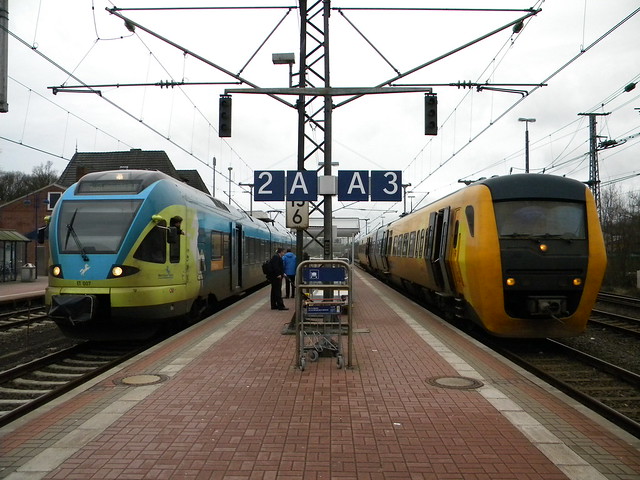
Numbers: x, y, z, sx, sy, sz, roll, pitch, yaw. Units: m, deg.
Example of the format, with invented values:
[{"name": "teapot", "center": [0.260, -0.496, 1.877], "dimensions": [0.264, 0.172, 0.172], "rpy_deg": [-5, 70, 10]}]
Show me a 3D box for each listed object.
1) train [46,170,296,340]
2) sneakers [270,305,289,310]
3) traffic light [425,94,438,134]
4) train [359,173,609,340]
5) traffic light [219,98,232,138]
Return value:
[{"name": "train", "center": [-4.394, 0.422, 16.824], "dimensions": [3.064, 3.605, 13.721], "rpy_deg": [-2, -2, 6]}, {"name": "sneakers", "center": [-1.228, 2.120, 15.629], "dimensions": [0.558, 0.221, 0.172], "rpy_deg": [-3, 2, 2]}, {"name": "traffic light", "center": [2.660, -2.978, 12.278], "dimensions": [0.251, 1.020, 0.342], "rpy_deg": [0, 3, 14]}, {"name": "train", "center": [3.869, 0.434, 18.196], "dimensions": [3.393, 3.474, 16.684], "rpy_deg": [2, 0, -7]}, {"name": "traffic light", "center": [-2.285, -2.940, 12.338], "dimensions": [0.275, 1.069, 0.369], "rpy_deg": [-1, 3, -14]}]
